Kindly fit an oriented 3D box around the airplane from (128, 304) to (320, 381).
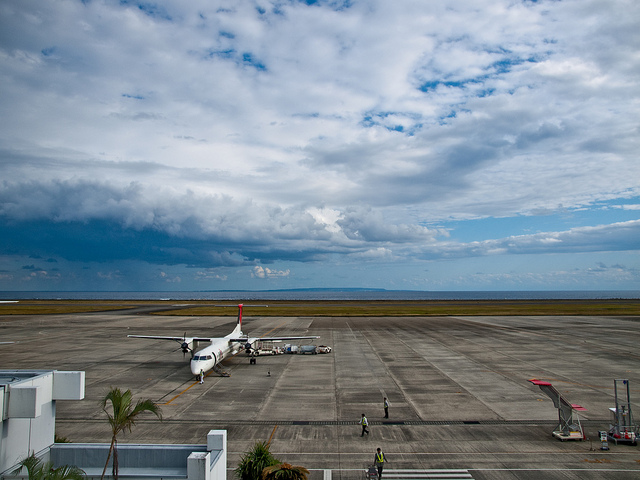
[{"bbox_3d":[-14.201,14.491,54.388,15.591,3.832,12.894,0,-1,8],"label":"airplane"}]
